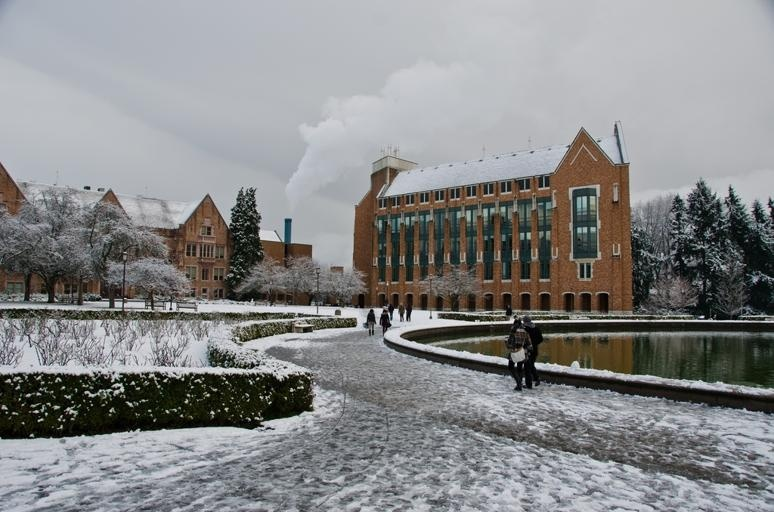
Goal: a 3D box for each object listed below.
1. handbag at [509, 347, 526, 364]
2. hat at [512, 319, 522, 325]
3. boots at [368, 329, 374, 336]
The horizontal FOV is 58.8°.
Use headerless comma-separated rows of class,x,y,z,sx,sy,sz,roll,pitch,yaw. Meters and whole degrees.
handbag,5.346,4.087,28.300,0.616,0.646,0.269,-7,0,9
hat,5.375,2.756,28.423,0.308,0.292,0.463,-2,-8,11
boots,-1.041,5.051,44.696,0.336,0.366,0.328,-5,-6,40
